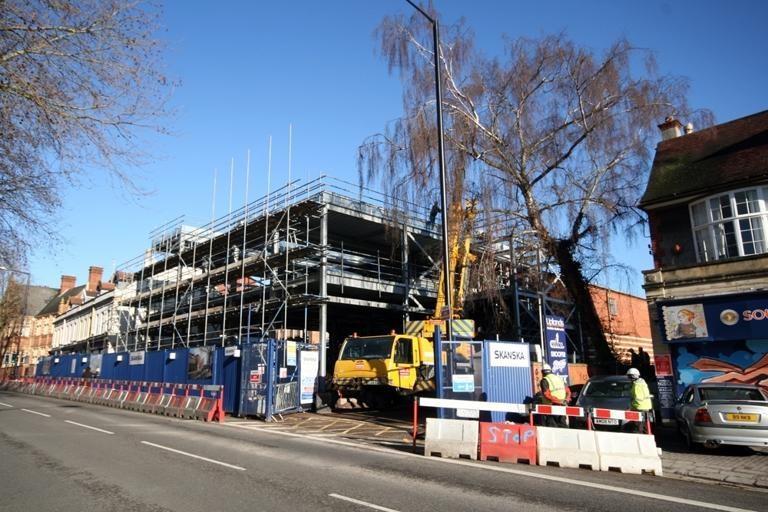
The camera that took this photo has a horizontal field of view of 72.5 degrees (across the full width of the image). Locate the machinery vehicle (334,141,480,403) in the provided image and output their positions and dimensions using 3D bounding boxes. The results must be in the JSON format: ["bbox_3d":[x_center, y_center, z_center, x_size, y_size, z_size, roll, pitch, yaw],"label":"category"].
[{"bbox_3d":[2.355,1.519,27.923,3.906,12.255,10.409,-9,-16,43],"label":"machinery vehicle"}]
